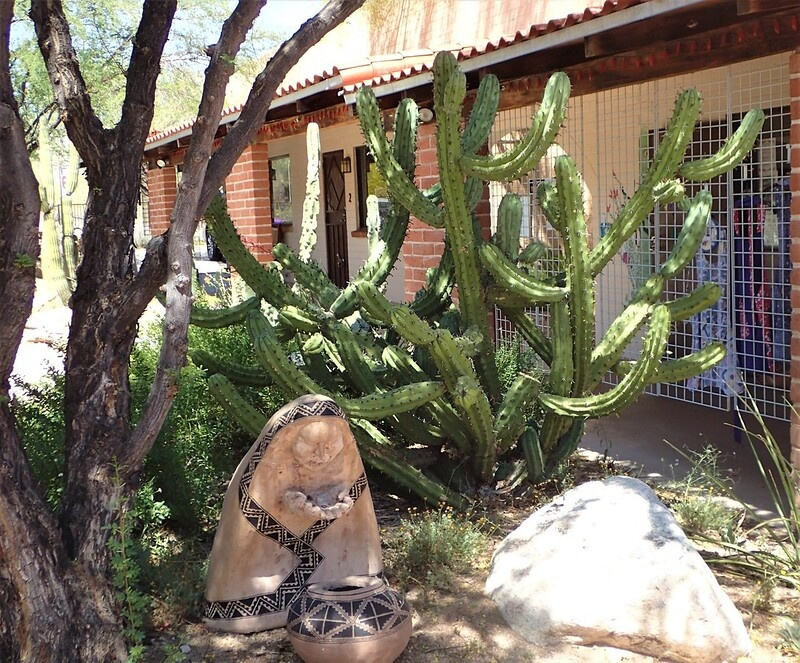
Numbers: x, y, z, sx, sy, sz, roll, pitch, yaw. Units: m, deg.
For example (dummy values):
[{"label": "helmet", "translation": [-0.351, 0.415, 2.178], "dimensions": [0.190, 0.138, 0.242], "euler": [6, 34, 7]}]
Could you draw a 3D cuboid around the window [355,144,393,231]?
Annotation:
[{"label": "window", "translation": [-0.539, -2.215, 11.241], "dimensions": [0.650, 1.231, 0.831], "euler": [-7, 10, -35]}]

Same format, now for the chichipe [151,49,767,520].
[{"label": "chichipe", "translation": [0.285, -0.145, 5.094], "dimensions": [2.673, 2.847, 2.681], "euler": [-9, 4, 5]}]

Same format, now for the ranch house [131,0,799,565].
[{"label": "ranch house", "translation": [0.861, -0.439, 5.067], "dimensions": [3.033, 3.467, 3.596], "euler": [1, 8, 19]}]

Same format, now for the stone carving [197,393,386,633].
[{"label": "stone carving", "translation": [-0.474, 0.692, 3.468], "dimensions": [0.894, 1.199, 0.595], "euler": [-8, 31, -22]}]
